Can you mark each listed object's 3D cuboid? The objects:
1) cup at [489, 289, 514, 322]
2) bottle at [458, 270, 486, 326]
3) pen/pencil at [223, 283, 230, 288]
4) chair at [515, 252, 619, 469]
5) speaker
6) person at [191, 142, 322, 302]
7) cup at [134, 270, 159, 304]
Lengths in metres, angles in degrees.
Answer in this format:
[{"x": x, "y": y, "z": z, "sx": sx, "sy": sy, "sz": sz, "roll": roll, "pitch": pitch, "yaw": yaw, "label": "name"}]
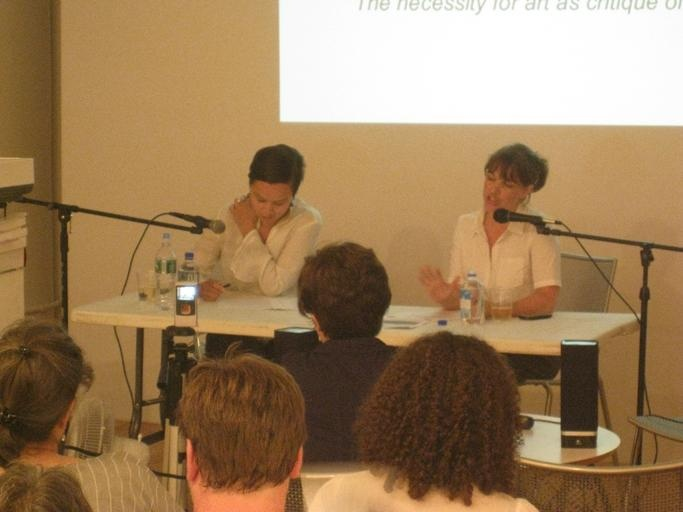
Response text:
[{"x": 0.637, "y": 0.189, "z": 3.088, "sx": 0.095, "sy": 0.153, "sz": 0.099, "roll": 1, "pitch": -4, "yaw": 0, "label": "cup"}, {"x": 0.534, "y": 0.160, "z": 3.028, "sx": 0.115, "sy": 0.199, "sz": 0.122, "roll": -2, "pitch": -2, "yaw": 0, "label": "bottle"}, {"x": -0.537, "y": 0.134, "z": 3.601, "sx": 0.016, "sy": 0.023, "sz": 0.081, "roll": -11, "pitch": -7, "yaw": -20, "label": "pen/pencil"}, {"x": 1.039, "y": 0.538, "z": 3.439, "sx": 0.301, "sy": 0.510, "sz": 0.260, "roll": -11, "pitch": 1, "yaw": 10, "label": "chair"}, {"x": 0.712, "y": 0.413, "z": 2.274, "sx": 0.150, "sy": 0.241, "sz": 0.062, "roll": 2, "pitch": 2, "yaw": -16, "label": "speaker"}, {"x": -0.410, "y": -0.112, "z": 3.693, "sx": 0.551, "sy": 0.830, "sz": 0.489, "roll": 10, "pitch": 21, "yaw": 5, "label": "person"}, {"x": -0.827, "y": 0.152, "z": 3.292, "sx": 0.082, "sy": 0.148, "sz": 0.136, "roll": -2, "pitch": -14, "yaw": -19, "label": "cup"}]
